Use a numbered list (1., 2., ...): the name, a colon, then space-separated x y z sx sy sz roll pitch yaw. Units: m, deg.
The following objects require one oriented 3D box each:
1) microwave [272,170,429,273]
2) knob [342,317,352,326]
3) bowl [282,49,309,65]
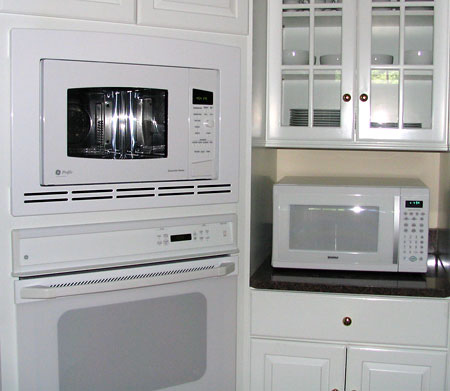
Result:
1. microwave: 0.513 0.129 1.644 0.519 0.386 0.390 0 2 2
2. knob: 0.460 0.477 1.538 0.025 0.030 0.013 0 -15 7
3. bowl: 0.291 -0.573 1.691 0.069 0.041 0.075 0 10 0
